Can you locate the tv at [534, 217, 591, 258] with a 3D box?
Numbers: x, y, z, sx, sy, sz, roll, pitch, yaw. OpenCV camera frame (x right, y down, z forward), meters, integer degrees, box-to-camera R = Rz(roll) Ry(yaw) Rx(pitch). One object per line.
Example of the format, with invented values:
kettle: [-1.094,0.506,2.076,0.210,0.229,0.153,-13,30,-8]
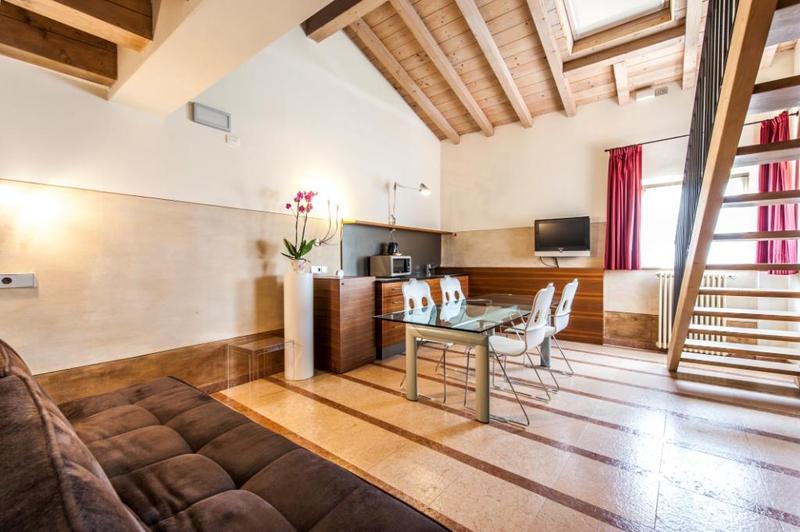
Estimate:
tv: [2.393,-0.424,6.925,0.622,0.450,0.081,0,-2,38]

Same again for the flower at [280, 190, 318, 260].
flower: [-1.194,-0.494,5.645,0.416,0.846,0.640,-2,4,-9]

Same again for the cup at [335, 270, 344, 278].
cup: [-0.735,0.093,5.784,0.101,0.094,0.100,-5,4,0]

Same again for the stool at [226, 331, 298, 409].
stool: [-1.635,1.043,5.311,0.831,0.676,0.578,0,-14,-9]

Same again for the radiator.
radiator: [3.866,0.606,6.513,0.993,1.152,1.065,-1,-4,39]

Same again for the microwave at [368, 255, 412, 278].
microwave: [-0.168,0.005,6.639,0.351,0.284,0.462,-1,-1,34]

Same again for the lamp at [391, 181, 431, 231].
lamp: [0.038,-0.975,7.402,0.254,0.670,0.896,0,4,16]
